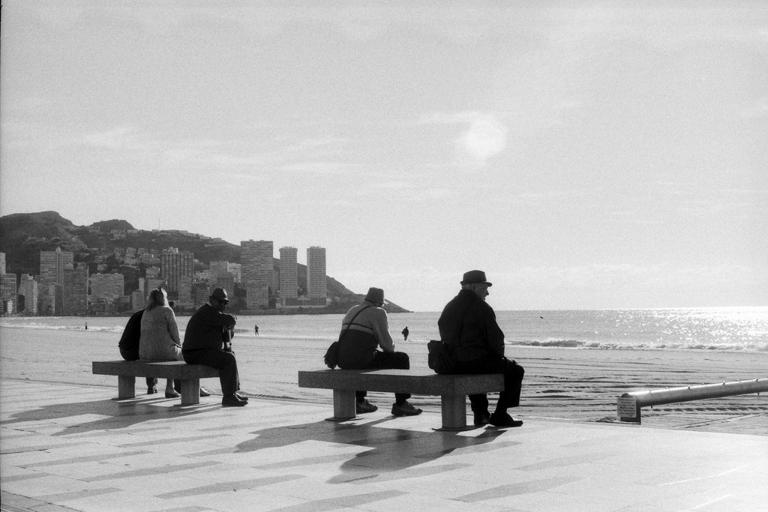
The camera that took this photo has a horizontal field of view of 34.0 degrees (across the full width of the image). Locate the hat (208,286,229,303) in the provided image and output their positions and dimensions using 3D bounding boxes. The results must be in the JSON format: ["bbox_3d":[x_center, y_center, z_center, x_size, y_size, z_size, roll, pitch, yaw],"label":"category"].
[{"bbox_3d":[-3.058,0.742,23.478,0.308,0.141,0.365,13,-5,-3],"label":"hat"}]

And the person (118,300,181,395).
[{"bbox_3d":[-4.585,1.859,24.511,1.457,1.820,0.834,13,19,-10],"label":"person"}]

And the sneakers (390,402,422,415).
[{"bbox_3d":[0.423,2.685,21.862,0.607,0.231,0.201,1,-3,-4],"label":"sneakers"}]

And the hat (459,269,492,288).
[{"bbox_3d":[1.366,0.371,18.945,0.631,0.203,0.495,-3,-1,-22],"label":"hat"}]

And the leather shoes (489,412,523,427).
[{"bbox_3d":[2.017,2.687,20.490,0.642,0.213,0.198,0,3,-5],"label":"leather shoes"}]

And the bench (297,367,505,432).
[{"bbox_3d":[0.229,2.346,20.622,3.129,0.912,0.944,1,-3,30],"label":"bench"}]

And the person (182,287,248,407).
[{"bbox_3d":[-3.083,1.670,23.115,1.244,2.137,1.009,3,-2,-5],"label":"person"}]

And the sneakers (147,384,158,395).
[{"bbox_3d":[-4.587,2.638,24.688,0.133,0.206,0.236,3,4,14],"label":"sneakers"}]
